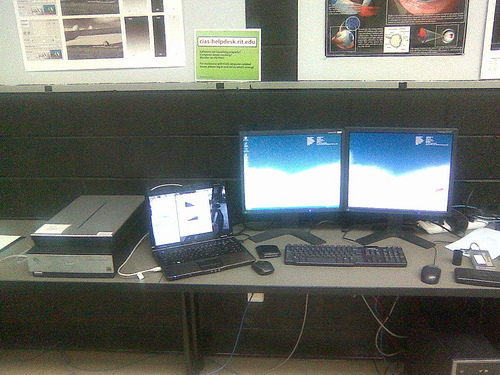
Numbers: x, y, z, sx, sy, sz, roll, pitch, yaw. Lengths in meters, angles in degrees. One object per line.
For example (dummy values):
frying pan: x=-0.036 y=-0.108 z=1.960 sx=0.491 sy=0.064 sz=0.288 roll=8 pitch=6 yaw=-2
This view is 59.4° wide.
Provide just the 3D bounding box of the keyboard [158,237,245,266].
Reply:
keyboard: x=-0.255 y=0.338 z=2.298 sx=0.436 sy=0.041 sz=0.146 roll=-5 pitch=16 yaw=-13

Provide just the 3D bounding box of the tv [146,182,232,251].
tv: x=-0.237 y=0.167 z=2.265 sx=0.536 sy=0.321 sz=0.313 roll=-7 pitch=9 yaw=-36

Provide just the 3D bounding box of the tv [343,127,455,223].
tv: x=0.804 y=-0.089 z=2.365 sx=0.542 sy=0.450 sz=0.039 roll=1 pitch=10 yaw=9

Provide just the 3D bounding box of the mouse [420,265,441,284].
mouse: x=0.866 y=0.408 z=2.096 sx=0.088 sy=0.064 sz=0.119 roll=5 pitch=17 yaw=24

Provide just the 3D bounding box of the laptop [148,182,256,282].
laptop: x=-0.271 y=0.232 z=2.315 sx=0.566 sy=0.385 sz=0.486 roll=-8 pitch=22 yaw=-19

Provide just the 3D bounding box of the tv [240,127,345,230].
tv: x=0.239 y=-0.075 z=2.438 sx=0.612 sy=0.592 sz=0.086 roll=-1 pitch=16 yaw=1

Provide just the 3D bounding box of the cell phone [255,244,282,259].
cell phone: x=0.102 y=0.331 z=2.332 sx=0.131 sy=0.045 sz=0.137 roll=-2 pitch=15 yaw=-2

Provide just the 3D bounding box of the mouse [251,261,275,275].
mouse: x=0.070 y=0.400 z=2.174 sx=0.090 sy=0.043 sz=0.081 roll=-9 pitch=17 yaw=-24

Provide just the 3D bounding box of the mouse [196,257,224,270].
mouse: x=-0.199 y=0.384 z=2.212 sx=0.124 sy=0.017 sz=0.079 roll=-7 pitch=16 yaw=-19
